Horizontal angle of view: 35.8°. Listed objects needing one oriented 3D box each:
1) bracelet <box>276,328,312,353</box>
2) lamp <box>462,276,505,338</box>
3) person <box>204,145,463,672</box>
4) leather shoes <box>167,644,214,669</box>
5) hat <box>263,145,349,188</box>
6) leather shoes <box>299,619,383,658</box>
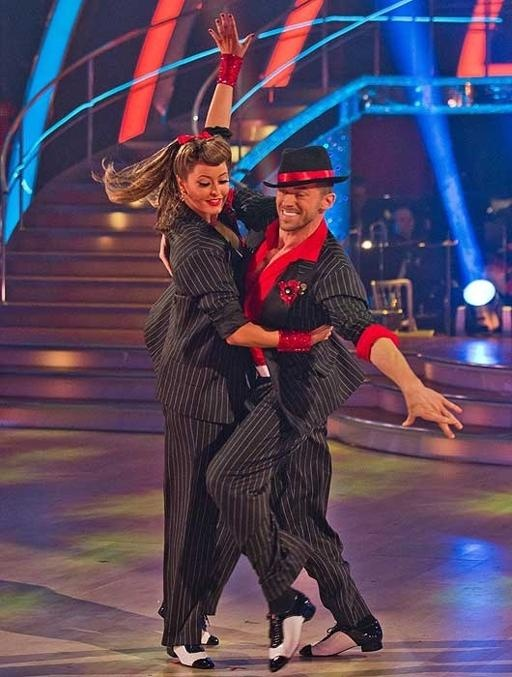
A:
[{"bbox_3d":[0.096,0.007,1.896,0.068,0.048,0.038,0,12,-9],"label":"bracelet"},{"bbox_3d":[2.583,-0.359,9.102,0.412,0.602,0.408,1,-9,12],"label":"lamp"},{"bbox_3d":[0.161,0.180,2.021,0.545,1.387,0.820,4,-9,-3],"label":"person"},{"bbox_3d":[-0.172,0.871,2.162,0.151,0.049,0.048,0,5,34],"label":"leather shoes"},{"bbox_3d":[0.126,-0.457,2.080,0.172,0.054,0.168,-3,4,7],"label":"hat"},{"bbox_3d":[0.267,0.854,2.265,0.325,0.102,0.094,-3,-7,9],"label":"leather shoes"}]
